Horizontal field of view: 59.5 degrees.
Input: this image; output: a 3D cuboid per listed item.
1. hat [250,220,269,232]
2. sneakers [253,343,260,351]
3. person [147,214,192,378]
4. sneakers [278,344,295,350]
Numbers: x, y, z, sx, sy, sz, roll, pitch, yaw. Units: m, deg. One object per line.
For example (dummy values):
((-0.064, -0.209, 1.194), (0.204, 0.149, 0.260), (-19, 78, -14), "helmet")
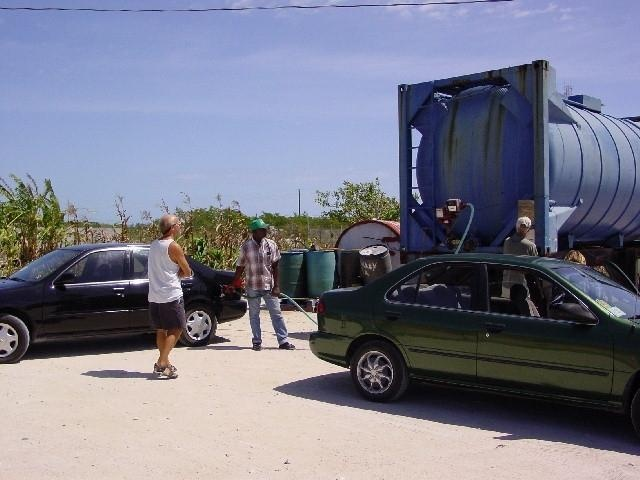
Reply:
((-1.091, -0.251, 10.239), (0.257, 0.146, 0.187), (-2, 6, -8), "hat")
((-1.091, 1.909, 9.955), (0.166, 0.091, 0.160), (0, 2, -6), "sneakers")
((-2.209, 0.816, 8.329), (0.568, 2.383, 0.592), (-1, 3, -20), "person")
((-0.561, 1.901, 9.956), (0.306, 0.133, 0.101), (0, -4, 5), "sneakers")
